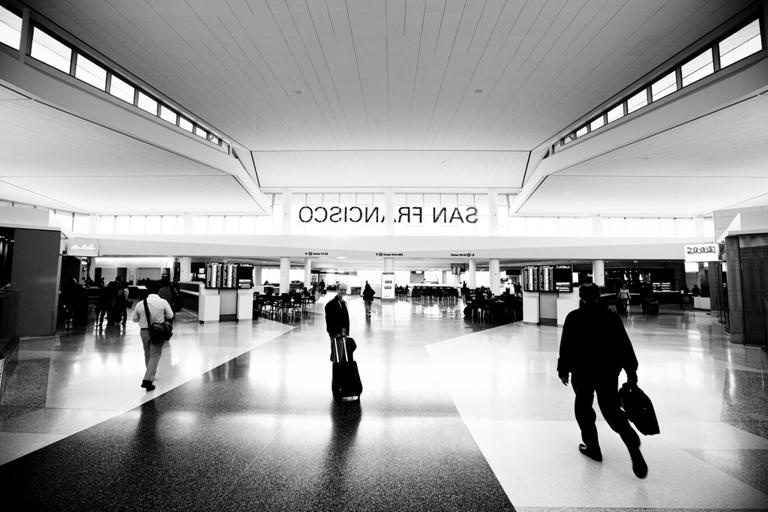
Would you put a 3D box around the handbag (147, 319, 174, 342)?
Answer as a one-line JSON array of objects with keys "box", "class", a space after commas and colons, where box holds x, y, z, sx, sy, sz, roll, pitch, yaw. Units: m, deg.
[{"box": [-4.236, 1.421, 9.306, 0.460, 0.430, 0.343, 0, 2, -20], "class": "handbag"}]

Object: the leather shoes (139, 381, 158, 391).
[{"box": [-4.409, 2.393, 9.168, 0.203, 0.178, 0.317, -15, 21, -43], "class": "leather shoes"}]

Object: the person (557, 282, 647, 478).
[{"box": [3.364, 1.802, 7.444, 1.341, 2.677, 0.712, 9, 18, 29], "class": "person"}]

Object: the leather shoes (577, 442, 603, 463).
[{"box": [3.178, 3.023, 7.528, 0.171, 0.243, 0.375, 1, 5, -26], "class": "leather shoes"}]

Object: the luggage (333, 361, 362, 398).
[{"box": [-0.678, 2.238, 8.825, 0.599, 0.747, 0.399, -6, -9, -1], "class": "luggage"}]

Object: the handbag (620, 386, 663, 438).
[{"box": [3.771, 2.276, 7.239, 0.546, 0.764, 0.192, -16, -14, 3], "class": "handbag"}]
